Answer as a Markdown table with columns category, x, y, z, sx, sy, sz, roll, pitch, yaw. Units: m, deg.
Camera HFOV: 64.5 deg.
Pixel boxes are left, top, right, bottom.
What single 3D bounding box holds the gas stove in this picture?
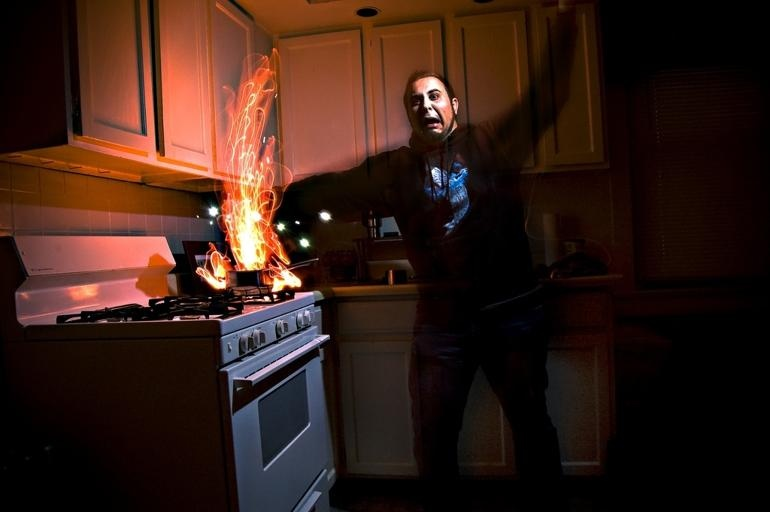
| category | x | y | z | sx | sy | sz | roll | pitch | yaw |
| --- | --- | --- | --- | --- | --- | --- | --- | --- | --- |
| gas stove | -1.161 | 0.159 | 2.870 | 0.750 | 0.435 | 0.807 | 1 | 4 | 9 |

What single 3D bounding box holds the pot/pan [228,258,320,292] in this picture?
| category | x | y | z | sx | sy | sz | roll | pitch | yaw |
| --- | --- | --- | --- | --- | --- | --- | --- | --- | --- |
| pot/pan | -0.679 | 0.087 | 3.496 | 0.343 | 0.132 | 0.227 | 0 | 0 | 3 |
